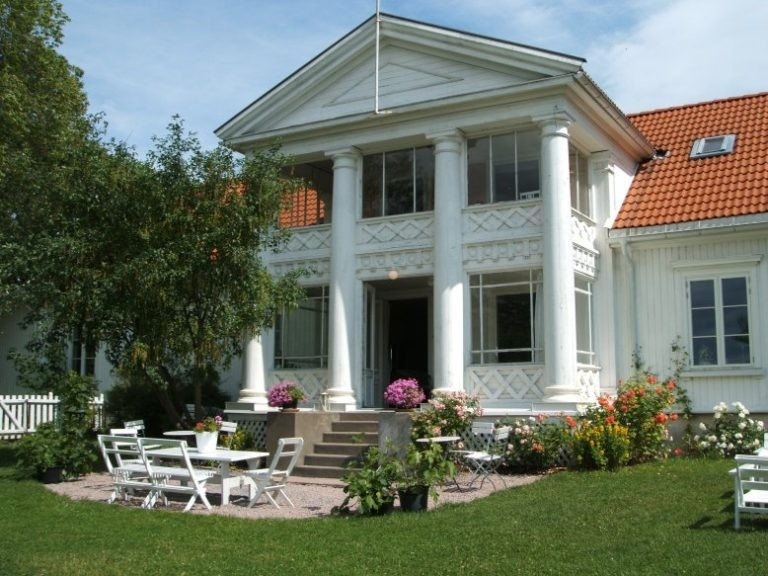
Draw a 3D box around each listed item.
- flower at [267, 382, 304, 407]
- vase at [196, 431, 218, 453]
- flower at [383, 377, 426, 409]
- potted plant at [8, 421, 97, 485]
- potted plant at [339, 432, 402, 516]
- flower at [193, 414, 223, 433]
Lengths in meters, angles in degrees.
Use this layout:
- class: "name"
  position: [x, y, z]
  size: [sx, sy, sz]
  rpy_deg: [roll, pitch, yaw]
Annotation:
- class: "flower"
  position: [-2.298, 2.481, 18.398]
  size: [0.598, 0.470, 0.652]
  rpy_deg: [2, -14, -8]
- class: "vase"
  position: [-3.422, 2.962, 15.283]
  size: [0.382, 0.302, 0.398]
  rpy_deg: [1, -13, -6]
- class: "flower"
  position: [0.438, 2.413, 17.728]
  size: [0.756, 0.693, 0.529]
  rpy_deg: [-2, 3, -22]
- class: "potted plant"
  position: [-7.084, 3.506, 16.905]
  size: [1.271, 1.071, 1.282]
  rpy_deg: [6, -5, -35]
- class: "potted plant"
  position: [-0.231, 3.195, 13.296]
  size: [1.052, 1.038, 1.076]
  rpy_deg: [-1, -12, -6]
- class: "flower"
  position: [-3.991, 3.147, 18.043]
  size: [0.567, 0.311, 0.538]
  rpy_deg: [2, -2, -6]
